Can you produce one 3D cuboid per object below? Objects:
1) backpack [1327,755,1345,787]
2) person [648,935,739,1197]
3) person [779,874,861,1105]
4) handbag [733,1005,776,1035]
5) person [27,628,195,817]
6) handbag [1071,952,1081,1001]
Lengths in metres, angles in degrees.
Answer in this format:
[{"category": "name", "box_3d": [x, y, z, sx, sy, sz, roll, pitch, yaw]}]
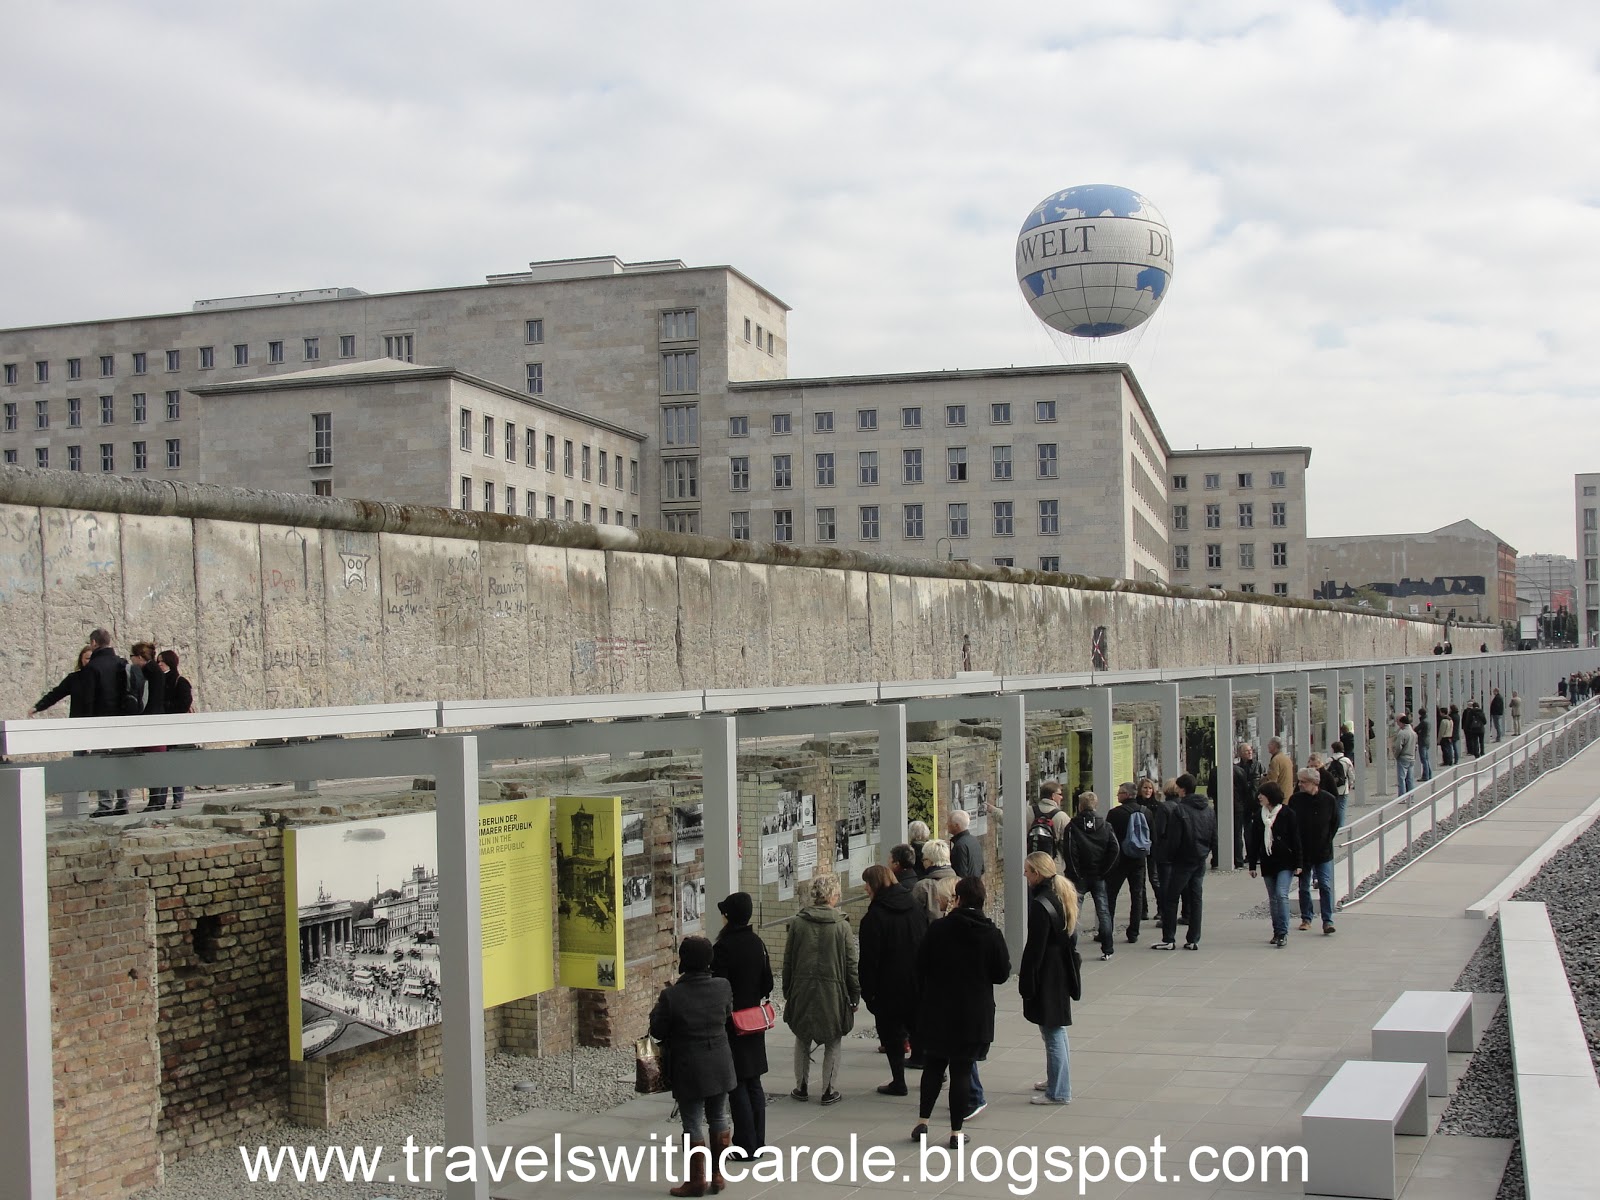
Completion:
[{"category": "backpack", "box_3d": [6.751, 2.160, 27.406, 0.276, 0.488, 0.238, 0, 12, 8]}, {"category": "person", "box_3d": [-0.695, 3.087, 14.470, 0.575, 1.713, 0.337, -1, -1, -22]}, {"category": "person", "box_3d": [0.192, 2.876, 15.995, 0.581, 1.728, 0.515, -1, -1, -16]}, {"category": "handbag", "box_3d": [-0.296, 2.864, 14.951, 0.172, 0.189, 0.476, -1, -1, 24]}, {"category": "person", "box_3d": [-4.565, 0.832, 14.290, 1.009, 1.988, 0.570, -1, -1, -28]}, {"category": "handbag", "box_3d": [2.063, 2.833, 16.296, 0.059, 0.333, 0.436, -1, -1, 13]}]
